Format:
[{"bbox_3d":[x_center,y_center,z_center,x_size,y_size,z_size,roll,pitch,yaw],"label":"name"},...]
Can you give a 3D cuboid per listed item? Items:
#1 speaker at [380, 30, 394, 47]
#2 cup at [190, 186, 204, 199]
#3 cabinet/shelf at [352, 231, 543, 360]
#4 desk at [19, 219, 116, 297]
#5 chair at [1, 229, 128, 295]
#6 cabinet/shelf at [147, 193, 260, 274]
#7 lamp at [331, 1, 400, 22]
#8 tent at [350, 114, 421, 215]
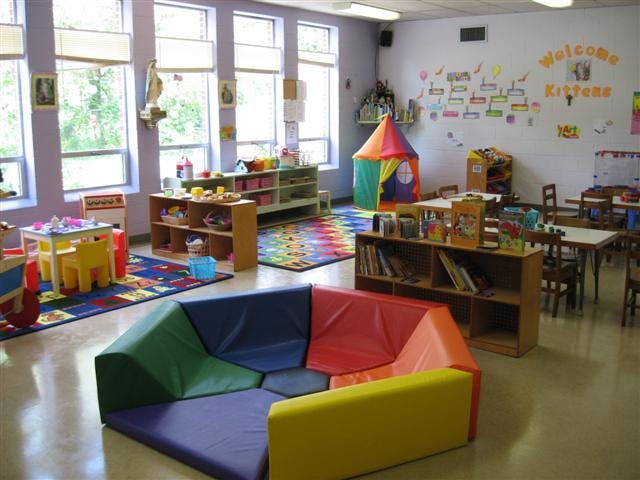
[{"bbox_3d":[1.553,-4.681,11.640,0.313,0.447,0.206,8,10,40],"label":"speaker"},{"bbox_3d":[-1.808,-0.695,7.460,0.162,0.171,0.171,-8,11,2],"label":"cup"},{"bbox_3d":[1.315,0.495,5.104,0.500,0.990,1.812,-12,10,-39],"label":"cabinet/shelf"},{"bbox_3d":[-3.158,0.114,6.361,1.087,0.809,0.863,10,16,41],"label":"desk"},{"bbox_3d":[-3.018,0.194,6.269,0.913,0.652,0.939,9,15,37],"label":"chair"},{"bbox_3d":[-1.791,-0.170,7.615,1.787,0.967,0.436,8,11,30],"label":"cabinet/shelf"},{"bbox_3d":[0.875,-4.412,9.624,0.534,0.151,1.435,13,20,41],"label":"lamp"},{"bbox_3d":[1.406,-1.714,10.848,1.397,1.832,1.304,-10,21,-32],"label":"tent"}]
